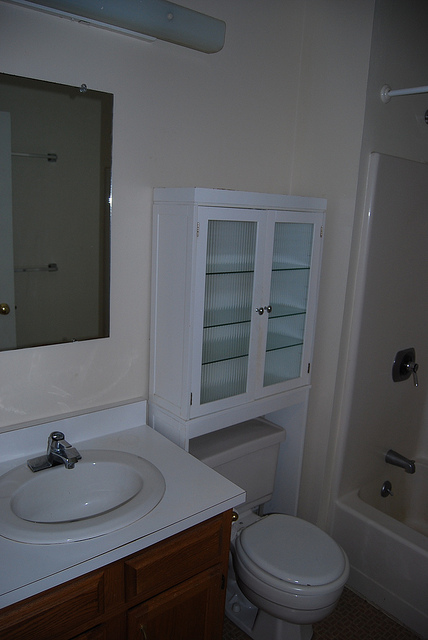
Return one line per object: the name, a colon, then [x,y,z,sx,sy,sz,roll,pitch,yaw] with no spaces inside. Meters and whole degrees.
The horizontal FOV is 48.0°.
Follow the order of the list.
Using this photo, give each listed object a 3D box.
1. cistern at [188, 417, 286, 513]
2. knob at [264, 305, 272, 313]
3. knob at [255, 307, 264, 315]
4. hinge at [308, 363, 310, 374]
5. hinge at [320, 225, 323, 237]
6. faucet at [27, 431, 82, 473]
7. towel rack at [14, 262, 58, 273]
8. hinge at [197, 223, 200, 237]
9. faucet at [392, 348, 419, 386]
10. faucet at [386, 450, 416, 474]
cistern: [0.081,0.500,1.705,0.220,0.319,0.413,13,18,42]
knob: [0.186,-0.036,1.654,0.024,0.017,0.016,-8,13,42]
knob: [0.156,-0.030,1.626,0.019,0.019,0.021,39,26,31]
hinge: [0.381,0.196,1.919,0.004,0.036,0.022,6,8,21]
hinge: [0.404,-0.332,1.798,0.005,0.045,0.023,8,9,31]
faucet: [-0.413,0.352,1.264,0.115,0.087,0.115,-2,18,-42]
towel rack: [-0.475,-0.139,1.284,0.118,0.030,0.005,-4,11,-45]
hinge: [-0.045,-0.256,1.369,0.003,0.037,0.010,9,10,38]
faucet: [0.845,0.199,2.115,0.137,0.160,0.054,-2,10,-28]
faucet: [0.856,0.645,2.206,0.101,0.112,0.045,21,12,-1]
